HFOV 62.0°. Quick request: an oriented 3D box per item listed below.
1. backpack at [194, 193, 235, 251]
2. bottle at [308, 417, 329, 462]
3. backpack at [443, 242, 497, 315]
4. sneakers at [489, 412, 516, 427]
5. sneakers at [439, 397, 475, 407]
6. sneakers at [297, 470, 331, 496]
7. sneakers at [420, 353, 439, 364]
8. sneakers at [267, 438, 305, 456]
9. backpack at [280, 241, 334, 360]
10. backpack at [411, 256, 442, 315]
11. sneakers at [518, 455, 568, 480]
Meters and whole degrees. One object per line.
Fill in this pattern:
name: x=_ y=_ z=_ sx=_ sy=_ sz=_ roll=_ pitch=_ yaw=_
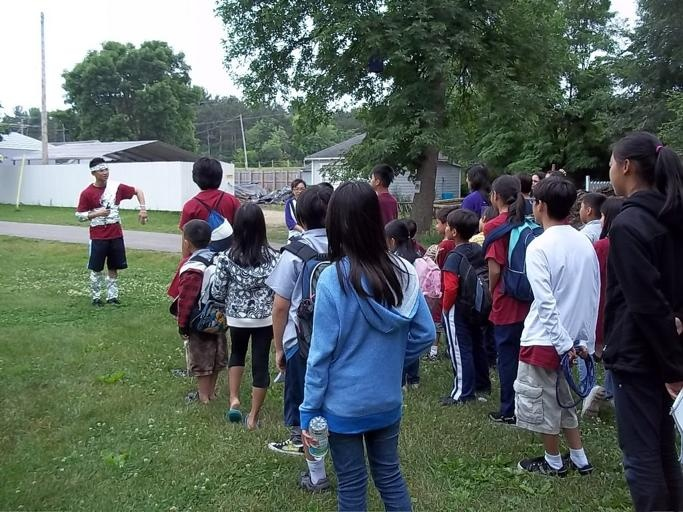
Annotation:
backpack: x=-1.492 y=-0.354 z=6.573 sx=0.266 sy=0.660 sz=0.250 roll=-13 pitch=13 yaw=-41
bottle: x=-0.140 y=1.159 z=3.645 sx=0.148 sy=0.275 sz=0.102 roll=-2 pitch=11 yaw=-17
backpack: x=1.382 y=0.269 z=6.115 sx=0.632 sy=0.758 sz=0.377 roll=7 pitch=-12 yaw=-43
sneakers: x=1.647 y=1.655 z=5.819 sx=0.244 sy=0.119 sz=0.094 roll=3 pitch=-1 yaw=37
sneakers: x=1.280 y=1.589 z=6.255 sx=0.348 sy=0.168 sz=0.136 roll=3 pitch=-6 yaw=-1
sneakers: x=-0.234 y=1.889 z=4.763 sx=0.287 sy=0.139 sz=0.109 roll=1 pitch=-2 yaw=41
sneakers: x=1.188 y=1.397 z=7.715 sx=0.272 sy=0.158 sz=0.103 roll=0 pitch=-6 yaw=7
sneakers: x=-0.495 y=1.735 z=5.283 sx=0.349 sy=0.160 sz=0.139 roll=6 pitch=-7 yaw=9
backpack: x=-0.272 y=0.372 z=4.567 sx=0.330 sy=0.954 sz=0.569 roll=-2 pitch=11 yaw=-14
backpack: x=0.895 y=0.264 z=5.949 sx=0.314 sy=0.697 sz=0.557 roll=1 pitch=12 yaw=4
sneakers: x=1.757 y=1.790 z=4.956 sx=0.382 sy=0.174 sz=0.152 roll=4 pitch=-2 yaw=32
